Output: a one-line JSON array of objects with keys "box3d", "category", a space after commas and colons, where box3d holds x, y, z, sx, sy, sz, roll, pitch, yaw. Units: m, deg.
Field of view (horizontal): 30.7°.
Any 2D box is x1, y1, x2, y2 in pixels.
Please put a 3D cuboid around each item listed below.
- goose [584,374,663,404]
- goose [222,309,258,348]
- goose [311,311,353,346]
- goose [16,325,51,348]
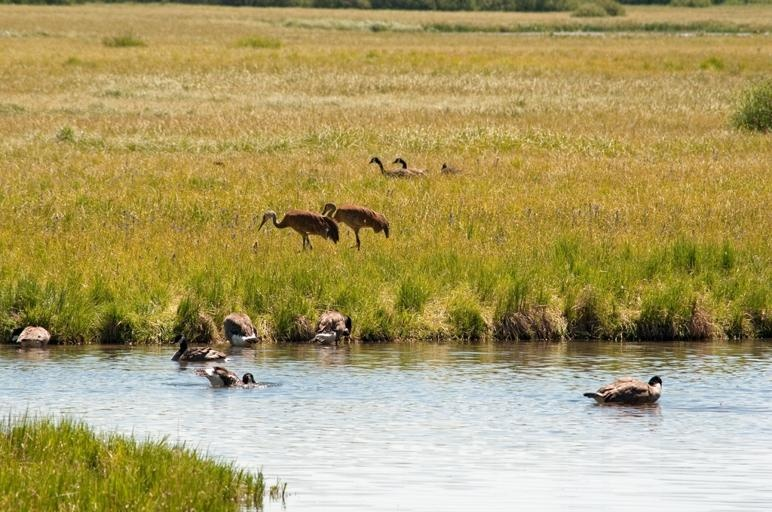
[{"box3d": [5.853, 3.285, 34.226, 1.764, 0.483, 0.551, 0, 28, -1], "category": "goose"}, {"box3d": [-3.919, 1.931, 37.831, 0.560, 0.707, 1.133, -17, 23, -14], "category": "goose"}, {"box3d": [-1.392, 1.953, 38.195, 0.670, 0.713, 1.126, 21, 34, 34], "category": "goose"}, {"box3d": [-9.276, 2.121, 37.381, 0.620, 0.369, 0.603, -7, 15, -41], "category": "goose"}]
